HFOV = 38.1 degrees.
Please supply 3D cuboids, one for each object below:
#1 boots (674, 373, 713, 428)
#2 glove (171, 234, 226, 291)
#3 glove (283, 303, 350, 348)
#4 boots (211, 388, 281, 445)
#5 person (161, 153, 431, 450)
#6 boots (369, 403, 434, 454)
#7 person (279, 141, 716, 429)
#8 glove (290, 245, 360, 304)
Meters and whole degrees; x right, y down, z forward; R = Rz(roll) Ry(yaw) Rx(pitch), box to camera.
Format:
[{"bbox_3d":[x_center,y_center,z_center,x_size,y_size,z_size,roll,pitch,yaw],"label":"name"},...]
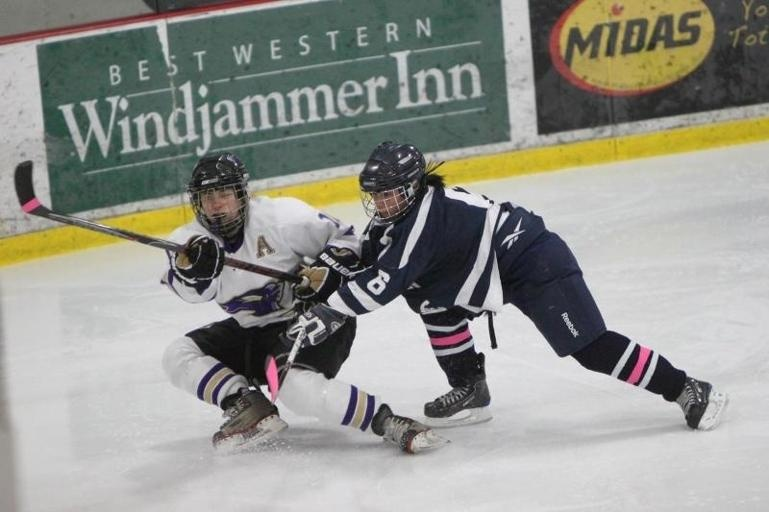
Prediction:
[{"bbox_3d":[1.458,0.693,5.316,0.161,0.097,0.263,13,49,-13],"label":"boots"},{"bbox_3d":[-0.898,0.018,5.395,0.295,0.211,0.212,-1,-14,22],"label":"glove"},{"bbox_3d":[-0.336,0.323,5.401,0.307,0.215,0.197,-11,12,-10],"label":"glove"},{"bbox_3d":[-0.618,0.795,5.437,0.399,0.228,0.195,-17,-20,-7],"label":"boots"},{"bbox_3d":[-0.435,0.268,5.506,1.525,1.396,1.190,0,2,-1],"label":"person"},{"bbox_3d":[0.068,0.807,5.353,0.304,0.115,0.175,20,27,33],"label":"boots"},{"bbox_3d":[0.539,0.207,5.438,2.245,1.288,1.110,4,6,21],"label":"person"},{"bbox_3d":[-0.284,0.077,5.479,0.344,0.121,0.213,-37,50,-3],"label":"glove"}]
